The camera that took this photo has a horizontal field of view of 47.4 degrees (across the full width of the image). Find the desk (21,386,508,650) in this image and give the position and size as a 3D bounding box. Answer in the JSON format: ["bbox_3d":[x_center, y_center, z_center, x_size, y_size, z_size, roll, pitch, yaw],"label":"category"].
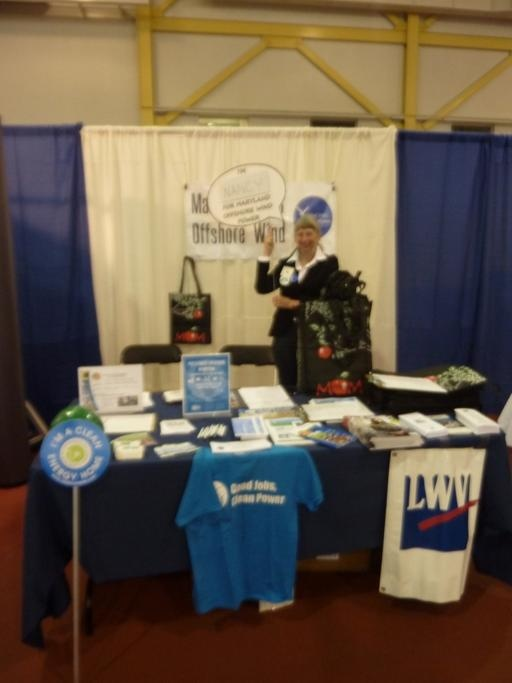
[{"bbox_3d":[-0.044,0.519,2.047,1.331,0.350,0.786,-2,7,-12],"label":"desk"}]

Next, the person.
[{"bbox_3d":[0.220,-0.345,3.465,0.523,0.749,0.591,3,16,7],"label":"person"}]

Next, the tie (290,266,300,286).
[{"bbox_3d":[0.239,-0.395,3.599,0.057,0.078,0.020,24,7,42],"label":"tie"}]

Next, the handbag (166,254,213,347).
[{"bbox_3d":[-0.419,-0.251,3.696,0.250,0.560,0.098,-2,17,-7],"label":"handbag"}]
